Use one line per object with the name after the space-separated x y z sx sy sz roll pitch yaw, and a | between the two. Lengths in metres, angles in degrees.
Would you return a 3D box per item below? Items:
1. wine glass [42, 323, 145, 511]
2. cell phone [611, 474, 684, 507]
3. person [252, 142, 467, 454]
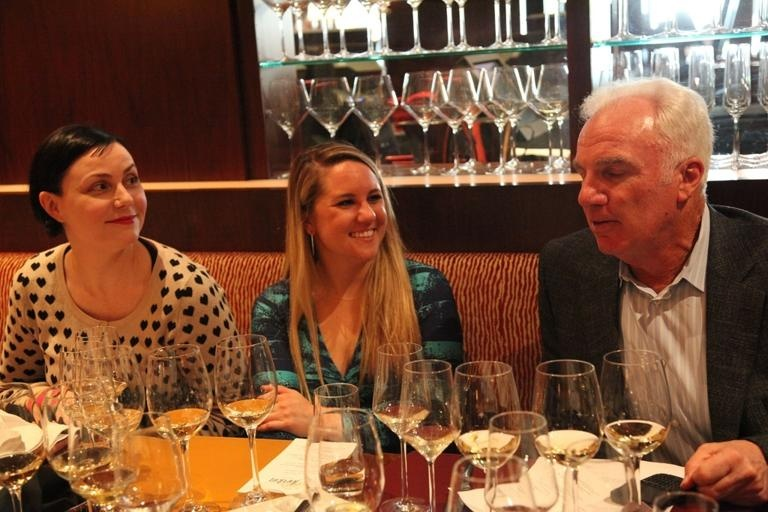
-0.776 0.422 1.861 0.226 0.357 0.838 -6 8 -22 | wine glass
0.585 0.526 1.520 0.086 0.015 0.154 9 16 44 | cell phone
-0.158 0.184 2.426 0.814 1.145 0.860 -3 8 -8 | person
